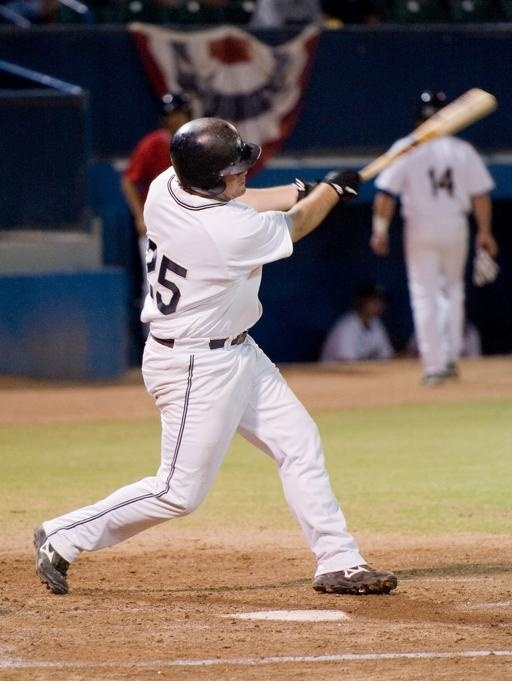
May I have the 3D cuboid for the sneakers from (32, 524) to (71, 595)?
[{"bbox_3d":[-0.519,0.559,2.498,0.111,0.166,0.072,-4,-6,-1],"label":"sneakers"}]

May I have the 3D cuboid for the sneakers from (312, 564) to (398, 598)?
[{"bbox_3d":[0.248,0.591,2.401,0.237,0.080,0.075,-2,-11,3],"label":"sneakers"}]

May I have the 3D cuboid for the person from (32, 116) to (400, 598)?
[{"bbox_3d":[-0.086,0.047,2.491,0.925,1.194,0.422,2,12,0],"label":"person"}]

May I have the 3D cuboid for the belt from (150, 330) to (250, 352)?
[{"bbox_3d":[-0.126,-0.002,2.400,0.244,0.034,0.149,0,8,-9],"label":"belt"}]

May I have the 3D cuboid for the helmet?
[{"bbox_3d":[-0.087,-0.438,2.345,0.237,0.193,0.161,-4,12,-29],"label":"helmet"}]
